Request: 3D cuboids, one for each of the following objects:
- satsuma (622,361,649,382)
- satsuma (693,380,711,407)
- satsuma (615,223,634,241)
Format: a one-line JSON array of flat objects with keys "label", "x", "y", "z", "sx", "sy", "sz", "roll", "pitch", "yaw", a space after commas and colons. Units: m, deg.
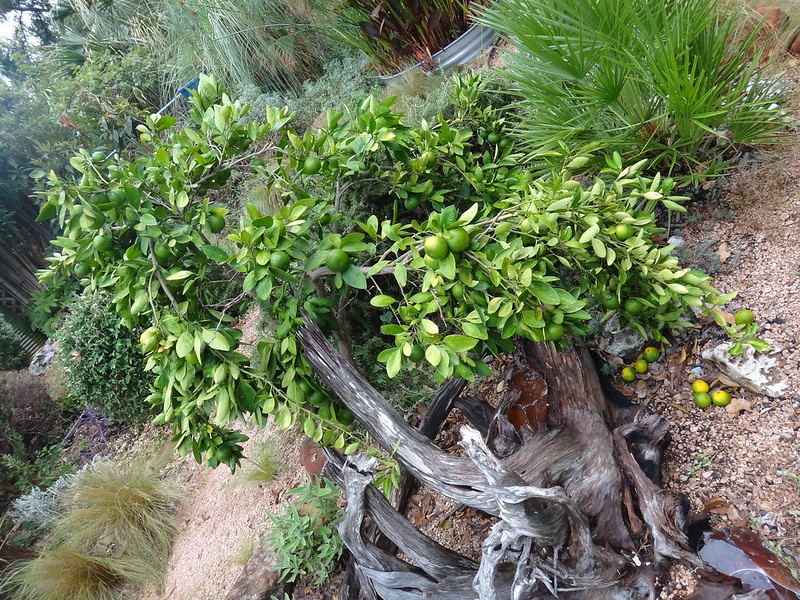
[{"label": "satsuma", "x": 1.528, "y": 0.461, "z": 3.547, "sx": 0.175, "sy": 0.085, "sz": 0.104, "roll": -35, "pitch": 49, "yaw": 5}, {"label": "satsuma", "x": 1.824, "y": 0.569, "z": 3.306, "sx": 0.085, "sy": 0.078, "sz": 0.163, "roll": -3, "pitch": 69, "yaw": 3}, {"label": "satsuma", "x": 1.167, "y": -0.359, "z": 2.826, "sx": 0.071, "sy": 0.086, "sz": 0.056, "roll": -13, "pitch": 46, "yaw": 40}]
